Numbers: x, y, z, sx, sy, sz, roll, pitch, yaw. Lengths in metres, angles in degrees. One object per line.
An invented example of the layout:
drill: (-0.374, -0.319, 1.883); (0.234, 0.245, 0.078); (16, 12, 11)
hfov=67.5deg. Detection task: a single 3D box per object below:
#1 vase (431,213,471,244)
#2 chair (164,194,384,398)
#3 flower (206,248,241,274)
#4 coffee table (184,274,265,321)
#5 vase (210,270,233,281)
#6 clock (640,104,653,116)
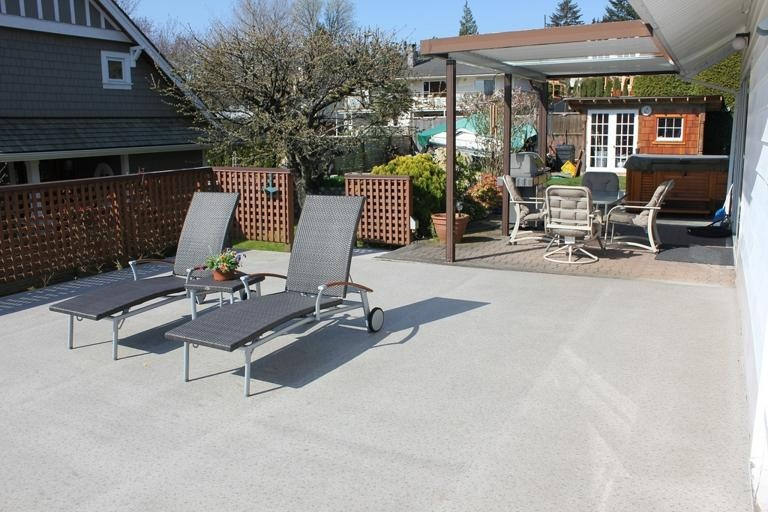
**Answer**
vase: (1.318, -0.607, 11.376); (0.611, 0.434, 0.631); (0, 9, 6)
chair: (-1.152, 0.295, 6.702); (1.217, 1.768, 2.668); (5, 13, 26)
flower: (-2.028, 0.054, 7.283); (0.340, 0.167, 0.353); (-3, 11, -15)
coffee table: (-2.030, 0.555, 7.373); (0.721, 0.509, 0.718); (2, 11, 13)
vase: (-2.039, 0.229, 7.282); (0.155, 0.073, 0.159); (0, 8, -2)
clock: (10.176, -5.707, 22.405); (0.368, 0.386, 0.364); (23, -6, 33)
